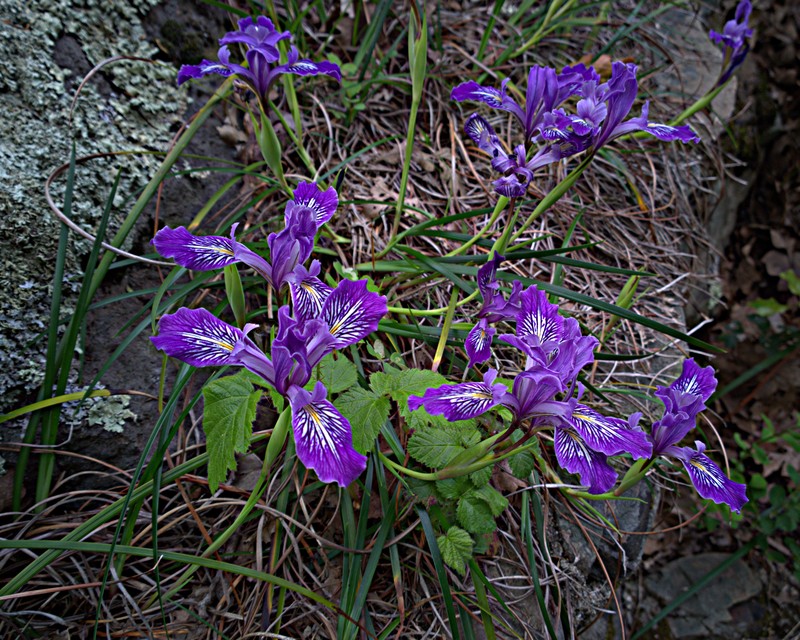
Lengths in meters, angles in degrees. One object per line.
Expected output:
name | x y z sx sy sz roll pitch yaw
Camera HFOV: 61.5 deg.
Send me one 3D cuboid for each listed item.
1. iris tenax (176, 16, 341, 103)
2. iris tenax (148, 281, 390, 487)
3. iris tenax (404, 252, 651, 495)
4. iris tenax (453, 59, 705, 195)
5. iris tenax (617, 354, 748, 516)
iris tenax | -0.607 -1.205 3.111 0.510 0.231 0.484 -13 24 -28
iris tenax | -0.470 0.223 2.898 0.841 0.417 0.864 40 33 1
iris tenax | 0.585 0.290 2.775 0.941 0.684 0.931 -6 51 -24
iris tenax | 0.784 -0.927 3.035 0.762 0.373 0.779 -33 36 -32
iris tenax | 1.177 0.405 3.040 0.463 0.645 0.652 0 33 16
